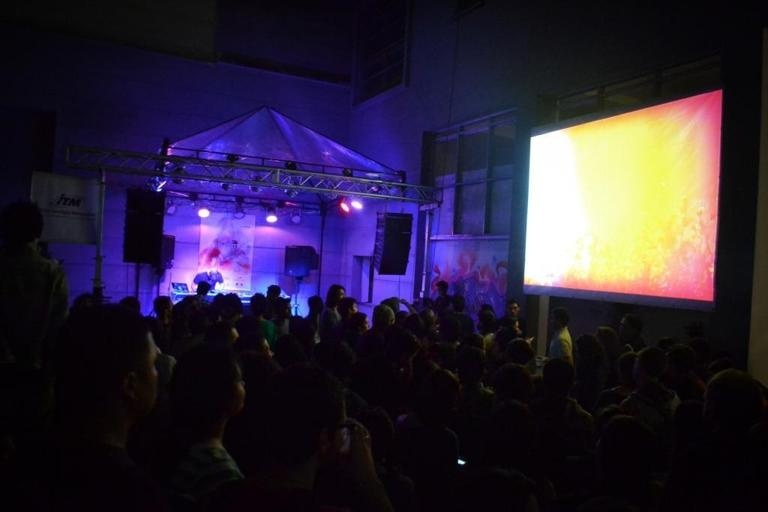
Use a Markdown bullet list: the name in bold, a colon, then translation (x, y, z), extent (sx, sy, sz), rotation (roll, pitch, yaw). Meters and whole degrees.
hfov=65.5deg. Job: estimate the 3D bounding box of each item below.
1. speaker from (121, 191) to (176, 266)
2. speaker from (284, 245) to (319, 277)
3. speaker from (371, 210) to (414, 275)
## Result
- **speaker**: translation (-4.081, -0.519, 10.172), extent (0.612, 1.379, 0.324), rotation (5, -1, -26)
- **speaker**: translation (-2.146, 0.136, 15.645), extent (0.884, 0.821, 0.540), rotation (5, -1, -11)
- **speaker**: translation (0.228, -0.274, 12.831), extent (0.742, 1.233, 0.769), rotation (5, -1, -9)
